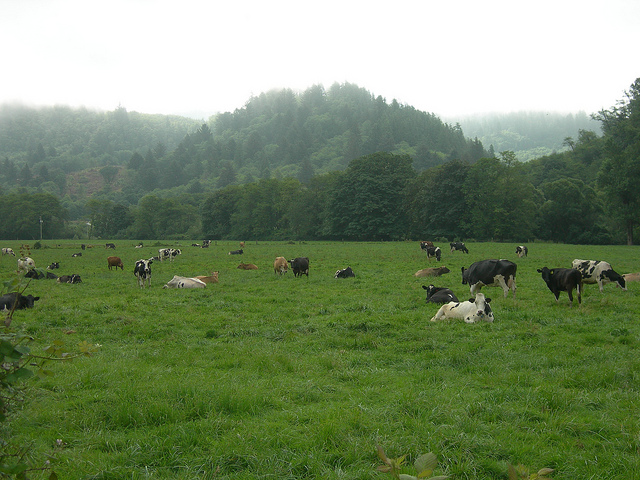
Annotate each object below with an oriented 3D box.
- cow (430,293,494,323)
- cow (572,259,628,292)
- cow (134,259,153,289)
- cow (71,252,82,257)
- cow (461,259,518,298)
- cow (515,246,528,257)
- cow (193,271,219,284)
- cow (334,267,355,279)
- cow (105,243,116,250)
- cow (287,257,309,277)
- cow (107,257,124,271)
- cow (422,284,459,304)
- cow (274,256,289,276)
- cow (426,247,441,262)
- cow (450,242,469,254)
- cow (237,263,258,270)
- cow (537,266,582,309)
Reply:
[{"bbox_3d":[4.990,2.453,23.294,1.090,0.767,1.716,5,-11,-42],"label":"cow"},{"bbox_3d":[11.153,1.437,26.634,0.847,1.340,2.343,-7,8,-35],"label":"cow"},{"bbox_3d":[-8.398,1.596,31.551,0.773,1.428,2.515,-4,0,-24],"label":"cow"},{"bbox_3d":[-20.345,1.171,55.340,1.040,0.589,0.304,-4,-6,28],"label":"cow"},{"bbox_3d":[6.750,1.628,26.982,0.941,1.652,2.900,3,-5,-37],"label":"cow"},{"bbox_3d":[14.838,0.781,48.852,0.561,0.648,1.186,6,8,19],"label":"cow"},{"bbox_3d":[-5.613,1.850,32.553,1.116,0.670,0.429,-1,20,-11],"label":"cow"},{"bbox_3d":[1.251,1.721,34.857,1.167,0.457,0.796,-5,15,-16],"label":"cow"},{"bbox_3d":[-24.402,0.705,77.128,1.768,0.991,0.549,-1,3,25],"label":"cow"},{"bbox_3d":[-1.093,1.462,36.013,0.888,1.065,1.139,-2,14,-6],"label":"cow"},{"bbox_3d":[-12.573,1.440,40.829,0.784,0.911,1.615,-5,15,-16],"label":"cow"},{"bbox_3d":[4.695,2.133,25.880,0.566,0.636,1.098,7,6,-28],"label":"cow"},{"bbox_3d":[-2.218,1.516,38.073,0.774,0.962,1.694,-2,14,-4],"label":"cow"},{"bbox_3d":[8.179,0.934,47.745,0.789,1.086,2.476,0,14,4],"label":"cow"},{"bbox_3d":[11.991,0.642,57.833,1.756,0.990,0.672,0,4,34],"label":"cow"},{"bbox_3d":[-4.523,1.588,40.782,1.421,0.315,0.709,9,17,33],"label":"cow"},{"bbox_3d":[9.244,1.758,25.477,0.718,1.489,2.408,-4,2,-16],"label":"cow"}]
